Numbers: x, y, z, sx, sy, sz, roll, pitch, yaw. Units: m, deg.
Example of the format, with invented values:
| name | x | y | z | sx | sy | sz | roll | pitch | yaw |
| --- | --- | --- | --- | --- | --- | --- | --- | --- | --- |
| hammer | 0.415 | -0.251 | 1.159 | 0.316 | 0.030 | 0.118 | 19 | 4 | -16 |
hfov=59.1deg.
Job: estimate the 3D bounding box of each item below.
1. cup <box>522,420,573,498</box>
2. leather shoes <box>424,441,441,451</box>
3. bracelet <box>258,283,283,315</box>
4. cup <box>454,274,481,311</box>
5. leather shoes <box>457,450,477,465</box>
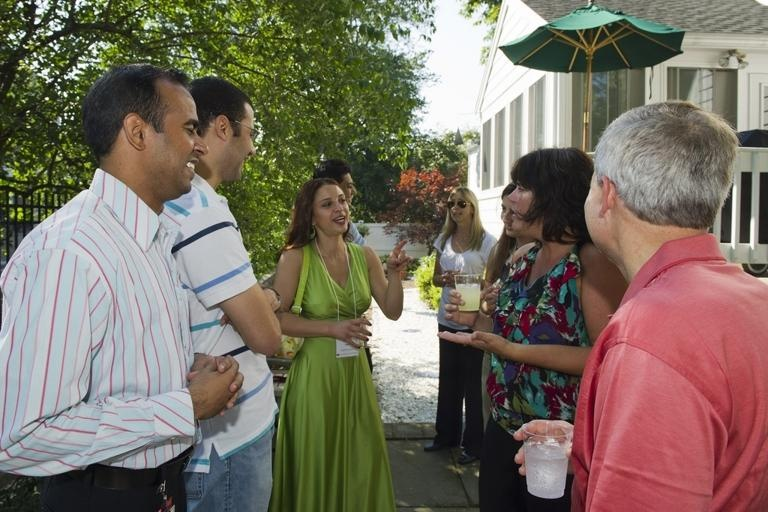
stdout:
| name | x | y | z | sx | sy | sz | roll | pitch | yaw |
| --- | --- | --- | --- | --- | --- | --- | --- | --- | --- |
| cup | 0.747 | 0.953 | 3.122 | 0.289 | 0.356 | 0.313 | 1 | -4 | 0 |
| leather shoes | 0.428 | 1.745 | 6.167 | 0.138 | 0.058 | 0.078 | 1 | -3 | -18 |
| bracelet | -0.630 | 0.246 | 3.730 | 0.126 | 0.177 | 0.087 | 18 | 42 | 30 |
| cup | 0.504 | 0.224 | 4.088 | 0.149 | 0.233 | 0.139 | -3 | 8 | 0 |
| leather shoes | 0.716 | 1.771 | 5.899 | 0.164 | 0.073 | 0.088 | 4 | -5 | -21 |
